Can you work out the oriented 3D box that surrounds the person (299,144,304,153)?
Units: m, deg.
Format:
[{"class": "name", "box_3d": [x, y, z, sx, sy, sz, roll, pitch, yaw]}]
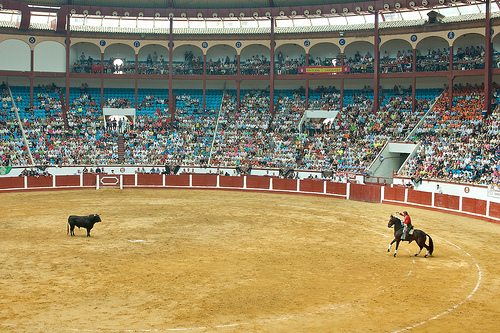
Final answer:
[{"class": "person", "box_3d": [5.487, -1.911, 82.720, 0.539, 1.321, 0.480, -1, -17, 5]}]

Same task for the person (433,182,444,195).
[{"class": "person", "box_3d": [17.130, 2.034, 70.836, 0.865, 1.323, 0.869, -11, -9, 6]}]

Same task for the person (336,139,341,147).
[{"class": "person", "box_3d": [9.293, -2.399, 81.607, 0.467, 0.671, 0.860, 2, 6, 7]}]

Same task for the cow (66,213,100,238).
[{"class": "cow", "box_3d": [-12.935, 4.536, 60.489, 2.794, 1.809, 0.913, -1, -4, 13]}]
